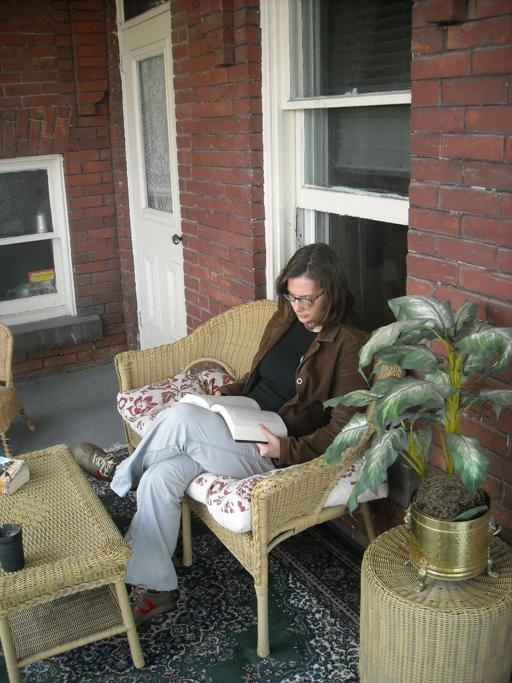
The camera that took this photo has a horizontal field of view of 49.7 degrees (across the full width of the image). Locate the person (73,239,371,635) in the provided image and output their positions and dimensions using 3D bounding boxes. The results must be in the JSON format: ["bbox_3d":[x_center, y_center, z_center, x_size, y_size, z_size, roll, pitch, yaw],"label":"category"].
[{"bbox_3d":[-0.130,0.278,2.030,0.913,1.295,0.682,-2,26,-20],"label":"person"}]

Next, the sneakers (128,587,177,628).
[{"bbox_3d":[-0.335,0.865,1.855,0.066,0.074,0.178,18,24,40],"label":"sneakers"}]

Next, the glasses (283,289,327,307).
[{"bbox_3d":[0.181,-0.152,1.881,0.073,0.022,0.075,18,26,40],"label":"glasses"}]
